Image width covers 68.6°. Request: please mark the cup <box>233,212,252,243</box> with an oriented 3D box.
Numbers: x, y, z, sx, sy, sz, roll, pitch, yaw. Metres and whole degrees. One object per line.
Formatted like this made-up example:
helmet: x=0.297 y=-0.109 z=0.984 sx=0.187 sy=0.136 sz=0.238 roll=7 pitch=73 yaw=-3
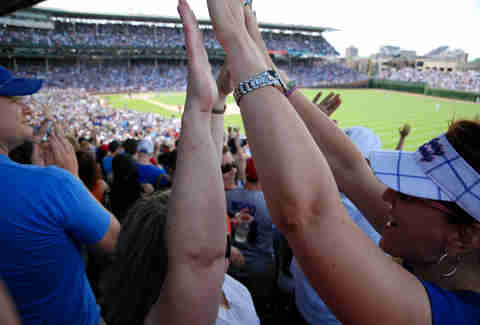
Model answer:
cup: x=0.033 y=0.656 z=3.626 sx=0.217 sy=0.288 sz=0.221 roll=5 pitch=35 yaw=-3
